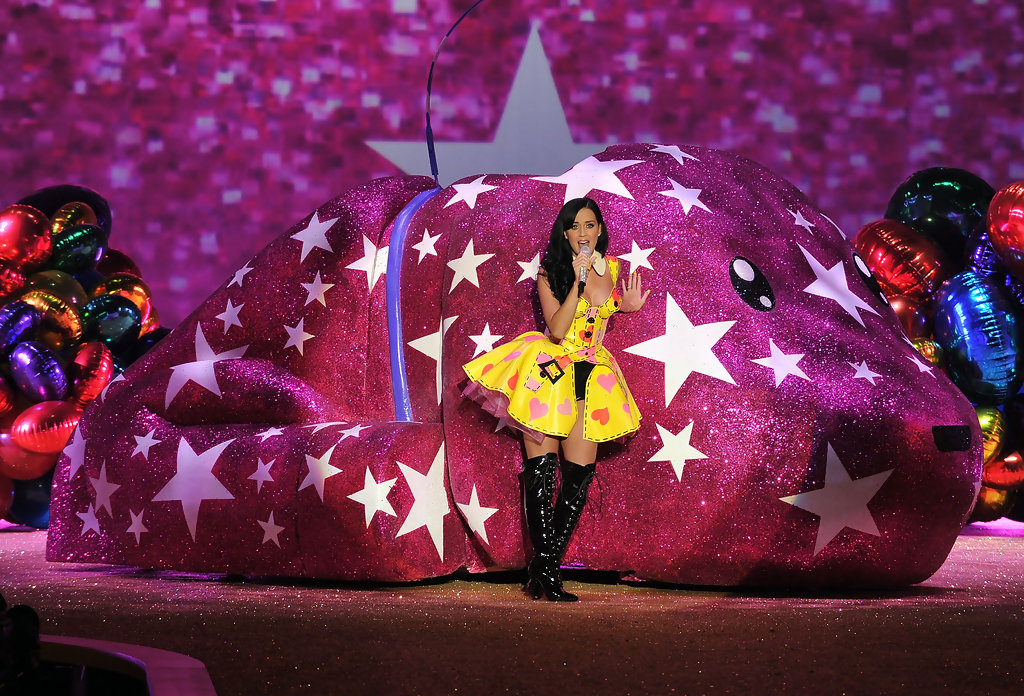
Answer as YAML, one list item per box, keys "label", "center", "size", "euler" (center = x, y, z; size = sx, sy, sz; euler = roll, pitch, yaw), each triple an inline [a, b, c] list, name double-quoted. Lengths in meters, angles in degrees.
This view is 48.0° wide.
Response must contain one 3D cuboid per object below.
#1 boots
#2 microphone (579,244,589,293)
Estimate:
- label: "boots"
  center: [0.157, 0.606, 3.953]
  size: [0.236, 0.478, 0.205]
  euler: [0, 3, 5]
- label: "microphone"
  center: [0.254, -0.290, 4.017]
  size: [0.041, 0.143, 0.040]
  euler: [12, -24, -13]
